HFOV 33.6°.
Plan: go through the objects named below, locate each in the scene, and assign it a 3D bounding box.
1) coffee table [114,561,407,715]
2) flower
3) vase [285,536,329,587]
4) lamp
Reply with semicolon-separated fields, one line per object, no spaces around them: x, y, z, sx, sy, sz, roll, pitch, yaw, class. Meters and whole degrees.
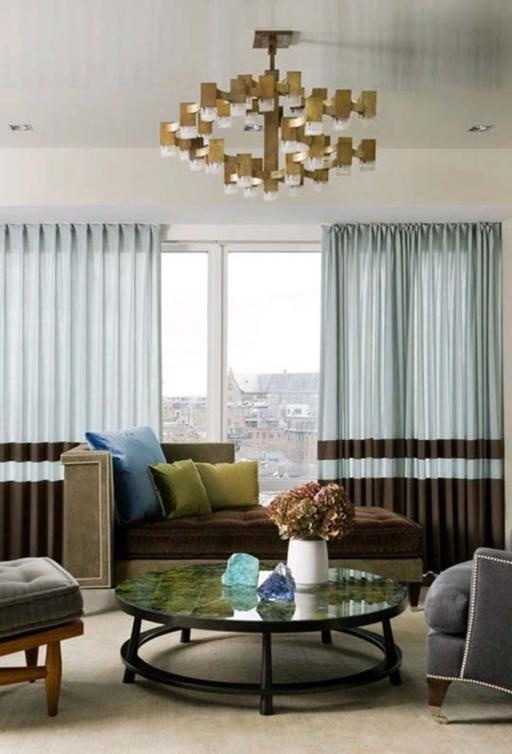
0.010;0.982;3.204;1.103;0.446;0.835;-1;1;9;coffee table
0.212;0.502;3.291;0.244;0.200;0.242;0;0;-17;flower
0.201;0.725;3.373;0.161;0.164;0.167;1;-3;-18;vase
0.076;-1.050;3.168;0.529;0.403;0.547;1;7;14;lamp
